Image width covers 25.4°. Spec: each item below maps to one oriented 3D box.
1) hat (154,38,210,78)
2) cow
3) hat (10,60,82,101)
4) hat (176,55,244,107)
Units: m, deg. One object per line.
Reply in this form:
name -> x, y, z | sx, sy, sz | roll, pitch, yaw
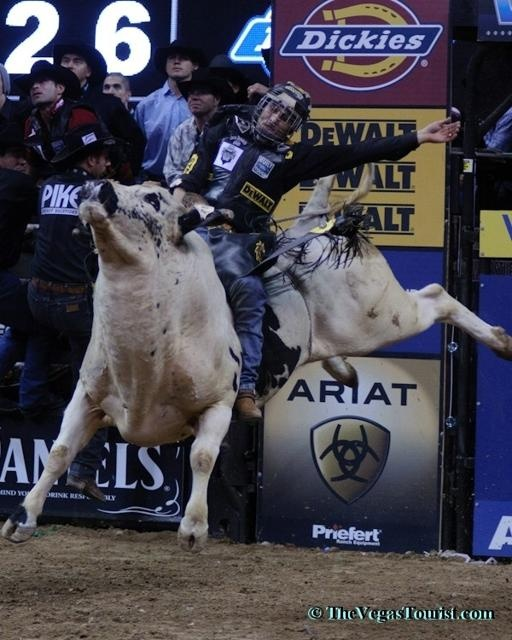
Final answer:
hat -> -0.596, -2.080, 9.071 | 0.411, 0.138, 0.402 | -2, -19, 2
cow -> -0.164, 0.081, 6.378 | 0.802, 1.994, 2.920 | 3, 0, 35
hat -> -1.416, -1.723, 8.015 | 0.393, 0.124, 0.343 | 20, -31, -39
hat -> -0.280, -1.725, 8.311 | 0.420, 0.182, 0.525 | -6, -13, 12
